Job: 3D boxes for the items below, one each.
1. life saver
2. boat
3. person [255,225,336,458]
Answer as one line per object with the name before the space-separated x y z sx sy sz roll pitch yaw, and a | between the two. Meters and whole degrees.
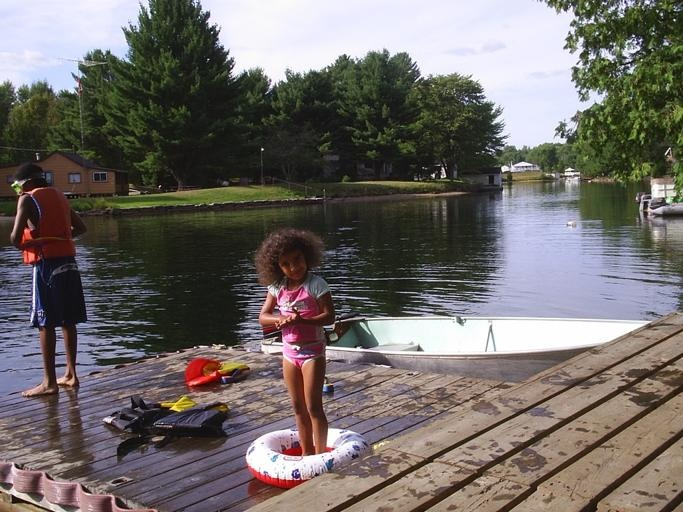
life saver | -0.219 1.530 4.912 0.732 0.347 0.741 -10 4 -44
boat | 1.332 1.083 7.368 4.148 0.507 1.245 0 3 34
person | -0.284 0.680 4.940 0.560 1.544 0.535 -10 3 -5
